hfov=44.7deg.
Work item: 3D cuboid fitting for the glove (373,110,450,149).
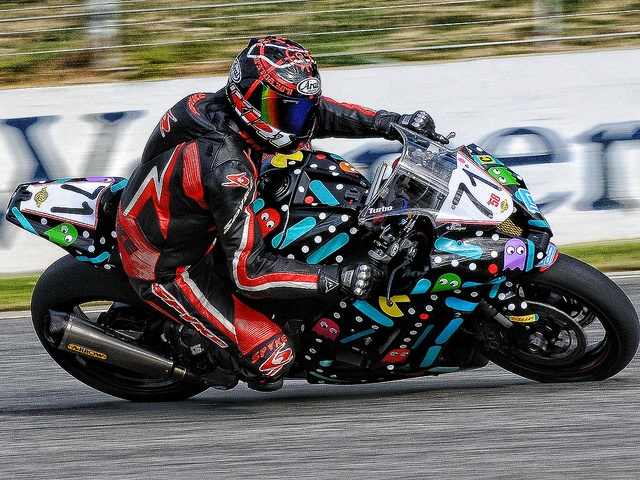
[{"bbox_3d":[0.527,-0.740,4.987,0.646,0.219,0.242,5,9,-32],"label":"glove"}]

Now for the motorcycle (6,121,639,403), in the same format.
[{"bbox_3d":[-0.402,0.091,5.318,4.679,1.815,1.376,-3,53,8],"label":"motorcycle"}]
